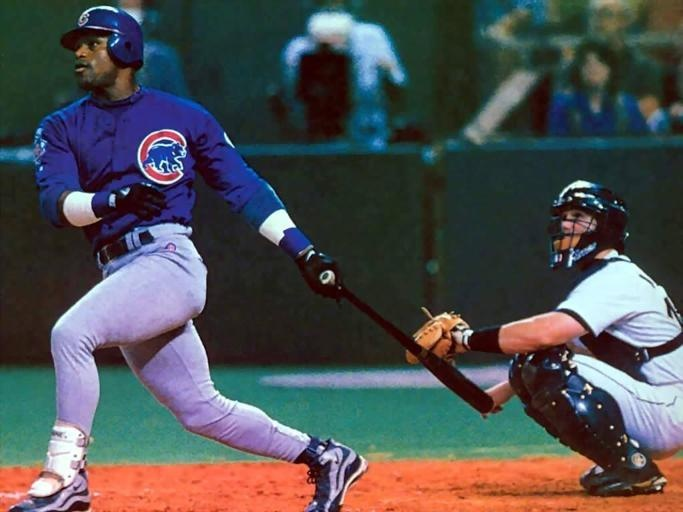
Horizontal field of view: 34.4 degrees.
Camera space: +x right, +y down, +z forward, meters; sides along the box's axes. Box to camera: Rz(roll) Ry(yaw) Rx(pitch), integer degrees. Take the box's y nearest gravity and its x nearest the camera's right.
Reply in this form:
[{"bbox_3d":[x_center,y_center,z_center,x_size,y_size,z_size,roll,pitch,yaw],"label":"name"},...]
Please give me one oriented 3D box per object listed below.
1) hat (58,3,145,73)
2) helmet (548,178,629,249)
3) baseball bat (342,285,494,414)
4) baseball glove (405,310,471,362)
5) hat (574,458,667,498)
[{"bbox_3d":[-1.230,-1.124,5.757,0.424,0.310,0.291,2,-11,-24],"label":"hat"},{"bbox_3d":[1.353,-0.236,6.141,0.421,0.326,0.353,6,2,-23],"label":"helmet"},{"bbox_3d":[0.549,0.698,7.861,1.363,0.143,0.152,37,-13,-9],"label":"baseball bat"},{"bbox_3d":[0.571,0.431,6.096,0.331,0.231,0.124,-18,37,-16],"label":"baseball glove"},{"bbox_3d":[1.556,1.219,6.000,0.316,0.120,0.231,2,-5,-14],"label":"hat"}]
